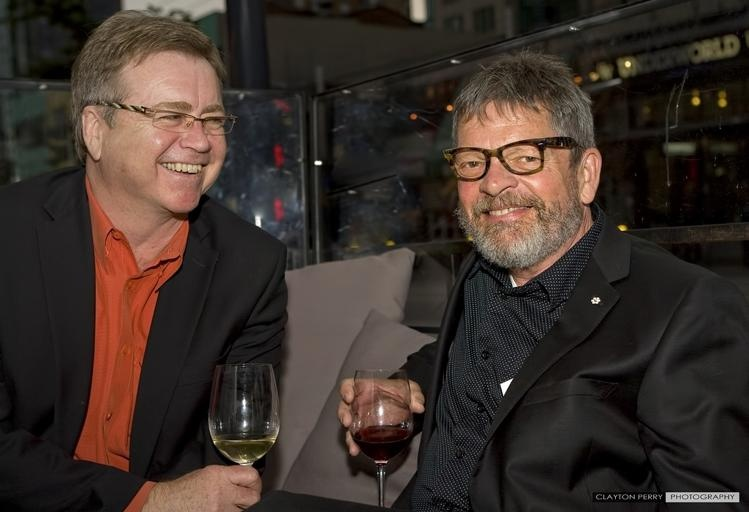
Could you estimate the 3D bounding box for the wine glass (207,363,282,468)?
[{"bbox_3d":[-0.409,0.485,2.118,0.201,0.292,0.096,-1,4,-10],"label":"wine glass"}]
